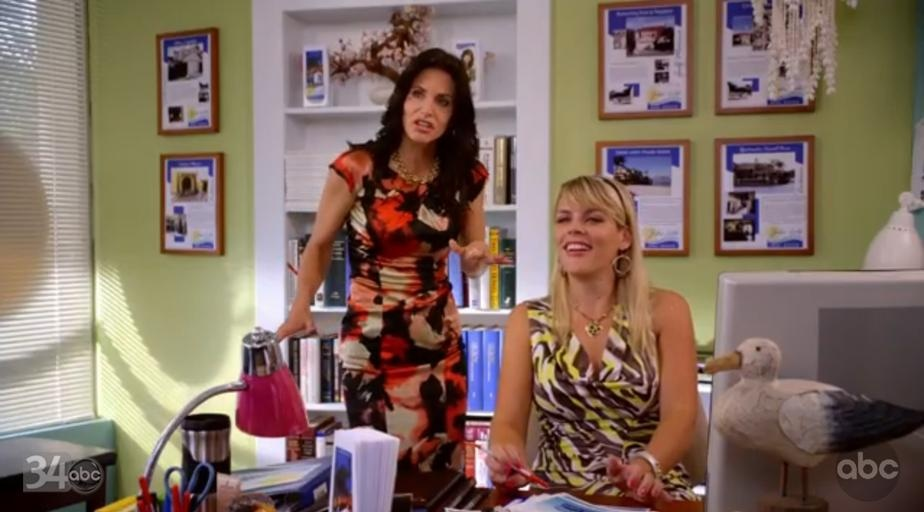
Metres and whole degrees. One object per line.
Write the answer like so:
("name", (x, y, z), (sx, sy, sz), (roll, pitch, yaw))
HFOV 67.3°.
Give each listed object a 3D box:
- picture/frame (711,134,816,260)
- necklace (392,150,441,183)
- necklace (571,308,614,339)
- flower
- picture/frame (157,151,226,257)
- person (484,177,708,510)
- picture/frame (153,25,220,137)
("picture/frame", (1.755, -0.353, 3.978), (0.780, 0.941, 0.043), (1, -1, 2))
("necklace", (-0.226, -0.390, 3.158), (0.143, 0.180, 0.048), (-45, -6, -23))
("necklace", (0.564, 0.294, 2.974), (0.134, 0.120, 0.018), (-4, -7, 17))
("flower", (-0.466, -1.327, 4.306), (0.416, 0.303, 0.614), (-15, 28, -15))
("picture/frame", (-1.723, -0.333, 4.433), (0.445, 0.652, 0.061), (-1, 3, 14))
("person", (0.545, 0.305, 2.886), (0.806, 1.291, 0.487), (-1, 3, 17))
("picture/frame", (-1.740, -1.110, 4.405), (0.424, 0.642, 0.043), (-1, 3, 12))
